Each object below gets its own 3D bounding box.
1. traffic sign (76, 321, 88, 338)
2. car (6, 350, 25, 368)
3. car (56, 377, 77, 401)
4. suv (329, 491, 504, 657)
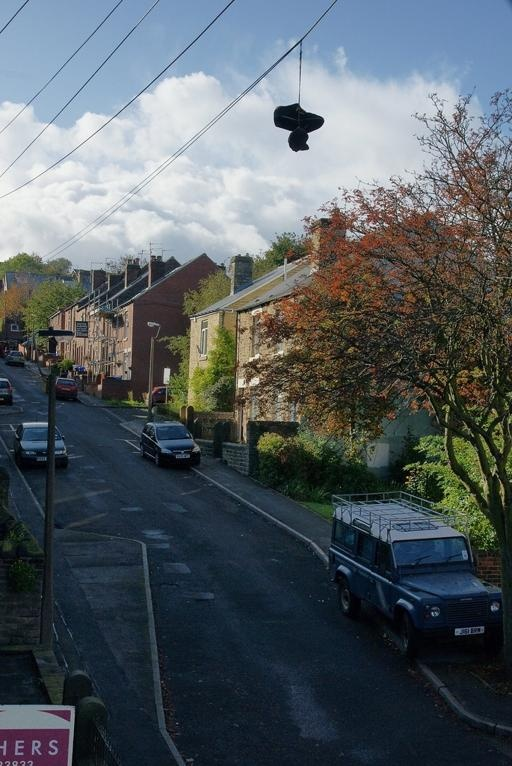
[{"bbox_3d":[-17.279,-5.351,82.315,1.260,1.571,1.725,2,3,-12],"label":"traffic sign"},{"bbox_3d":[-24.240,-2.420,83.352,1.409,1.035,3.312,1,8,-18],"label":"car"},{"bbox_3d":[-13.549,0.406,59.288,1.331,0.979,2.795,3,4,-15],"label":"car"},{"bbox_3d":[2.947,3.386,15.031,1.877,1.550,3.134,0,-3,-15],"label":"suv"}]
